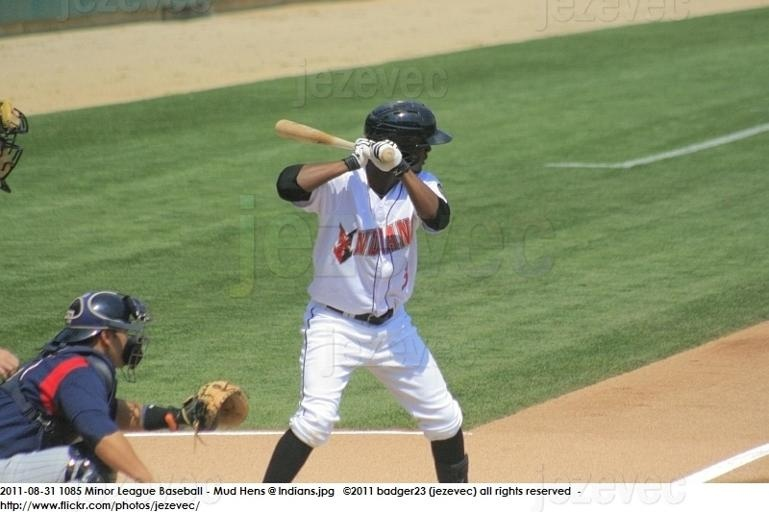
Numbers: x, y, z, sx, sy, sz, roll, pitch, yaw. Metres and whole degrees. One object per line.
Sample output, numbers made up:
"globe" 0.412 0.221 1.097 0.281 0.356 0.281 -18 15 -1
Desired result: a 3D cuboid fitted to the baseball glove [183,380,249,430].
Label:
"baseball glove" -1.381 1.328 15.724 0.602 0.322 0.302 -2 -20 3
